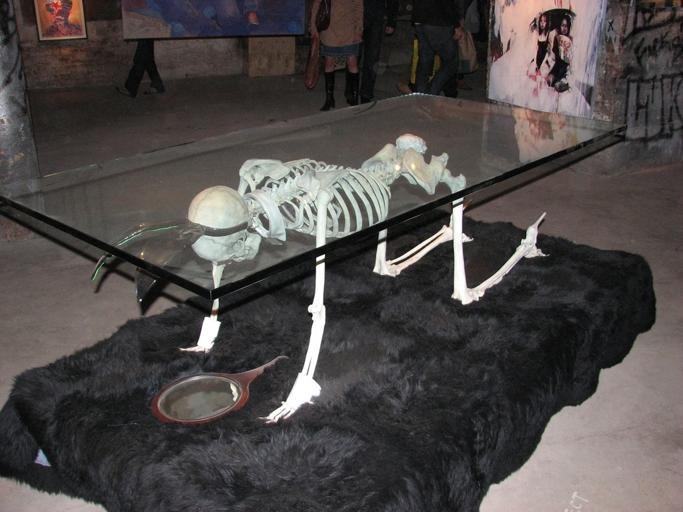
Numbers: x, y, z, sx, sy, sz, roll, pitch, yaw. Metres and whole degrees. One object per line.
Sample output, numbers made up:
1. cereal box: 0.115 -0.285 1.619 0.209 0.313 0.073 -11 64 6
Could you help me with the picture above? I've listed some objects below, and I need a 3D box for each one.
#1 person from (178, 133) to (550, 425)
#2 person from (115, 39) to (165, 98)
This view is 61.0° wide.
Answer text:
1. person: 0.092 -0.183 3.149 0.956 0.995 2.238 27 41 37
2. person: -3.108 -2.902 8.903 0.856 0.969 0.316 -15 56 -32
